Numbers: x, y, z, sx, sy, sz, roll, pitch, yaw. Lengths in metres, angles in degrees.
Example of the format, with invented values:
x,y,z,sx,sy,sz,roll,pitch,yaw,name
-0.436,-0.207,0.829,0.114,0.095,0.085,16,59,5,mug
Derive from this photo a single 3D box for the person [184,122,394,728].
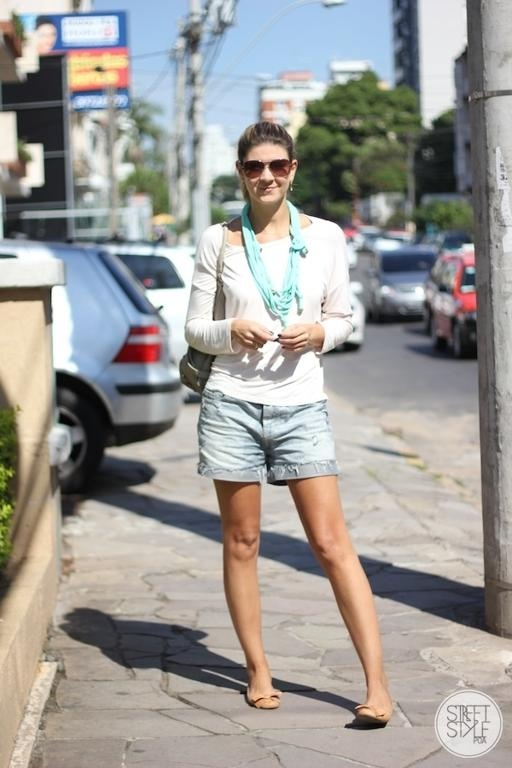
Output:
x,y,z,sx,sy,sz,roll,pitch,yaw,name
0.114,0.115,3.763,0.757,2.007,0.480,1,6,10,person

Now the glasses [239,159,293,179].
x,y,z,sx,sy,sz,roll,pitch,yaw,name
0.039,-0.719,3.725,0.163,0.066,0.080,1,6,2,glasses
